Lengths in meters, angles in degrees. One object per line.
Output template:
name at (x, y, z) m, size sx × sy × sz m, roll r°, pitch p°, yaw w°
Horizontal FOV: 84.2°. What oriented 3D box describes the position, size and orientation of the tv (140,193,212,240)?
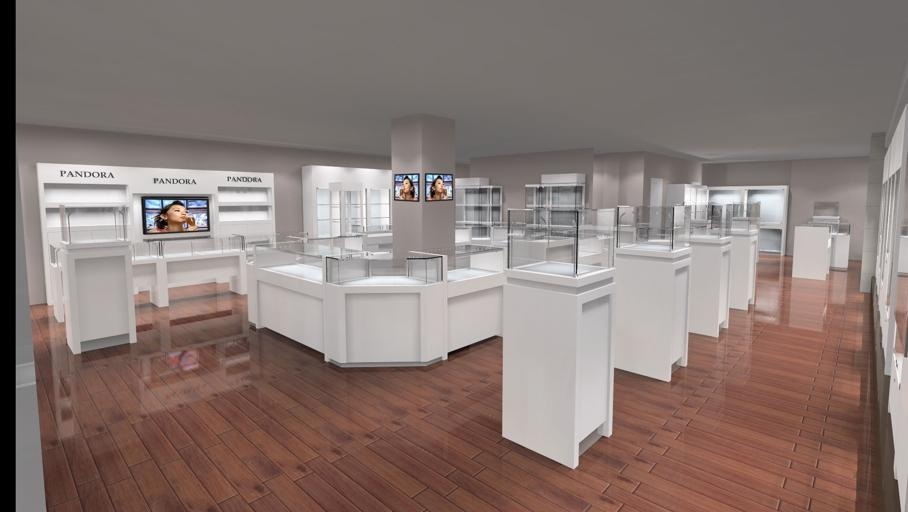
tv at (-7.002, -0.986, 12.448) m, size 1.351 × 0.833 × 0.088 m, roll -3°, pitch 5°, yaw -40°
